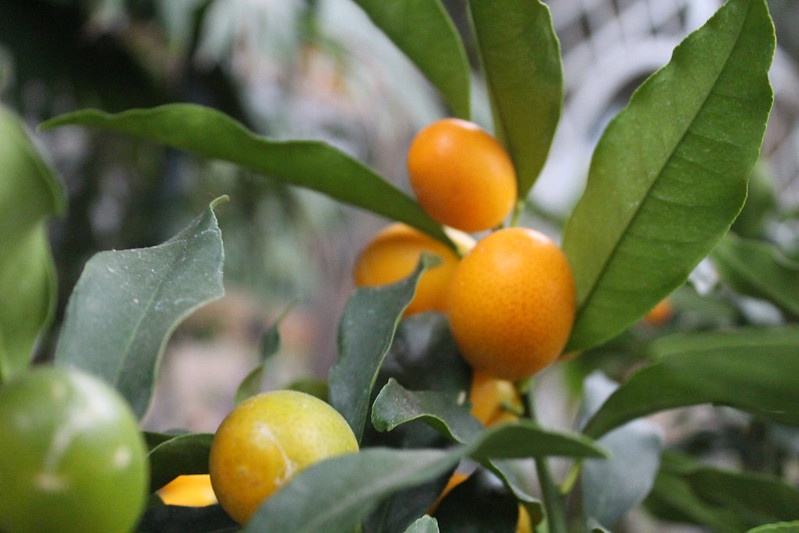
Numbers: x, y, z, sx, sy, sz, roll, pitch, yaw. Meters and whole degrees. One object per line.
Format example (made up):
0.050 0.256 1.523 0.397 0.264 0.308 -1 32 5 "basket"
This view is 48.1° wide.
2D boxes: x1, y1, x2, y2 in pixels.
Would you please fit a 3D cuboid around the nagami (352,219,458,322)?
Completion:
-0.003 0.000 0.735 0.079 0.073 0.070 34 23 15 "nagami"

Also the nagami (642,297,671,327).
0.208 0.037 0.731 0.024 0.028 0.026 -2 7 13 "nagami"

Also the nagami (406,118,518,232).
0.035 -0.060 0.631 0.093 0.083 0.074 0 2 25 "nagami"

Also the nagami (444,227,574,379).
0.075 0.026 0.637 0.084 0.087 0.111 8 79 8 "nagami"

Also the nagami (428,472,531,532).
0.061 0.175 0.649 0.075 0.054 0.033 12 47 9 "nagami"

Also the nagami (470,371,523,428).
0.070 0.098 0.664 0.038 0.032 0.027 -4 47 -4 "nagami"
